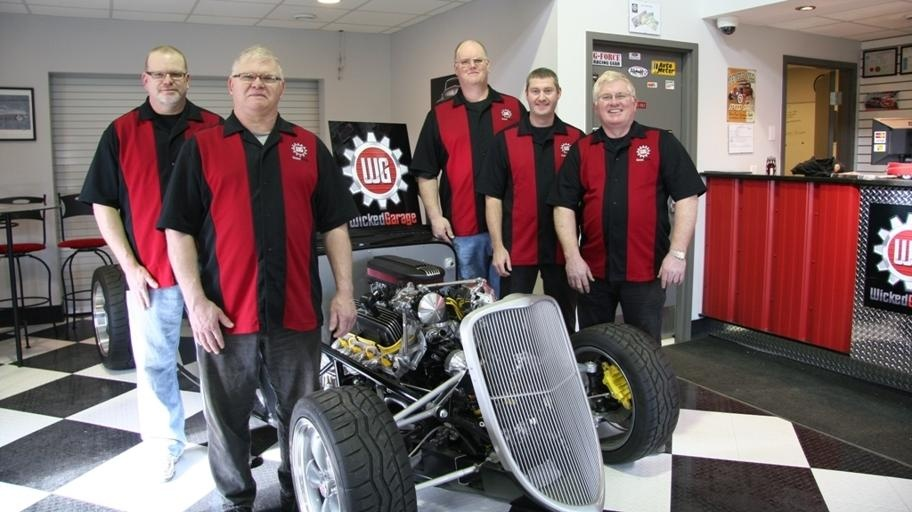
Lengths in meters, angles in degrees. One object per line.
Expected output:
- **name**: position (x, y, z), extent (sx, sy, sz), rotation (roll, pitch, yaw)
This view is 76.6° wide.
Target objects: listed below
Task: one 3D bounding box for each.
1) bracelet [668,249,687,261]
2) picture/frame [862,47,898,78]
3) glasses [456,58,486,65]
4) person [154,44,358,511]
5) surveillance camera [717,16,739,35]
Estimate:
- **bracelet**: position (1.729, -0.003, 4.529), extent (0.117, 0.074, 0.114), rotation (9, -4, -20)
- **picture/frame**: position (6.042, -2.777, 8.248), extent (0.410, 0.371, 0.041), rotation (3, 14, 22)
- **glasses**: position (0.145, -1.646, 4.928), extent (0.202, 0.051, 0.050), rotation (-3, 10, -7)
- **person**: position (-1.302, 0.238, 3.929), extent (1.203, 3.209, 0.298), rotation (-4, 10, -10)
- **surveillance camera**: position (3.140, -2.636, 6.647), extent (0.331, 0.158, 0.175), rotation (-6, 11, -25)
